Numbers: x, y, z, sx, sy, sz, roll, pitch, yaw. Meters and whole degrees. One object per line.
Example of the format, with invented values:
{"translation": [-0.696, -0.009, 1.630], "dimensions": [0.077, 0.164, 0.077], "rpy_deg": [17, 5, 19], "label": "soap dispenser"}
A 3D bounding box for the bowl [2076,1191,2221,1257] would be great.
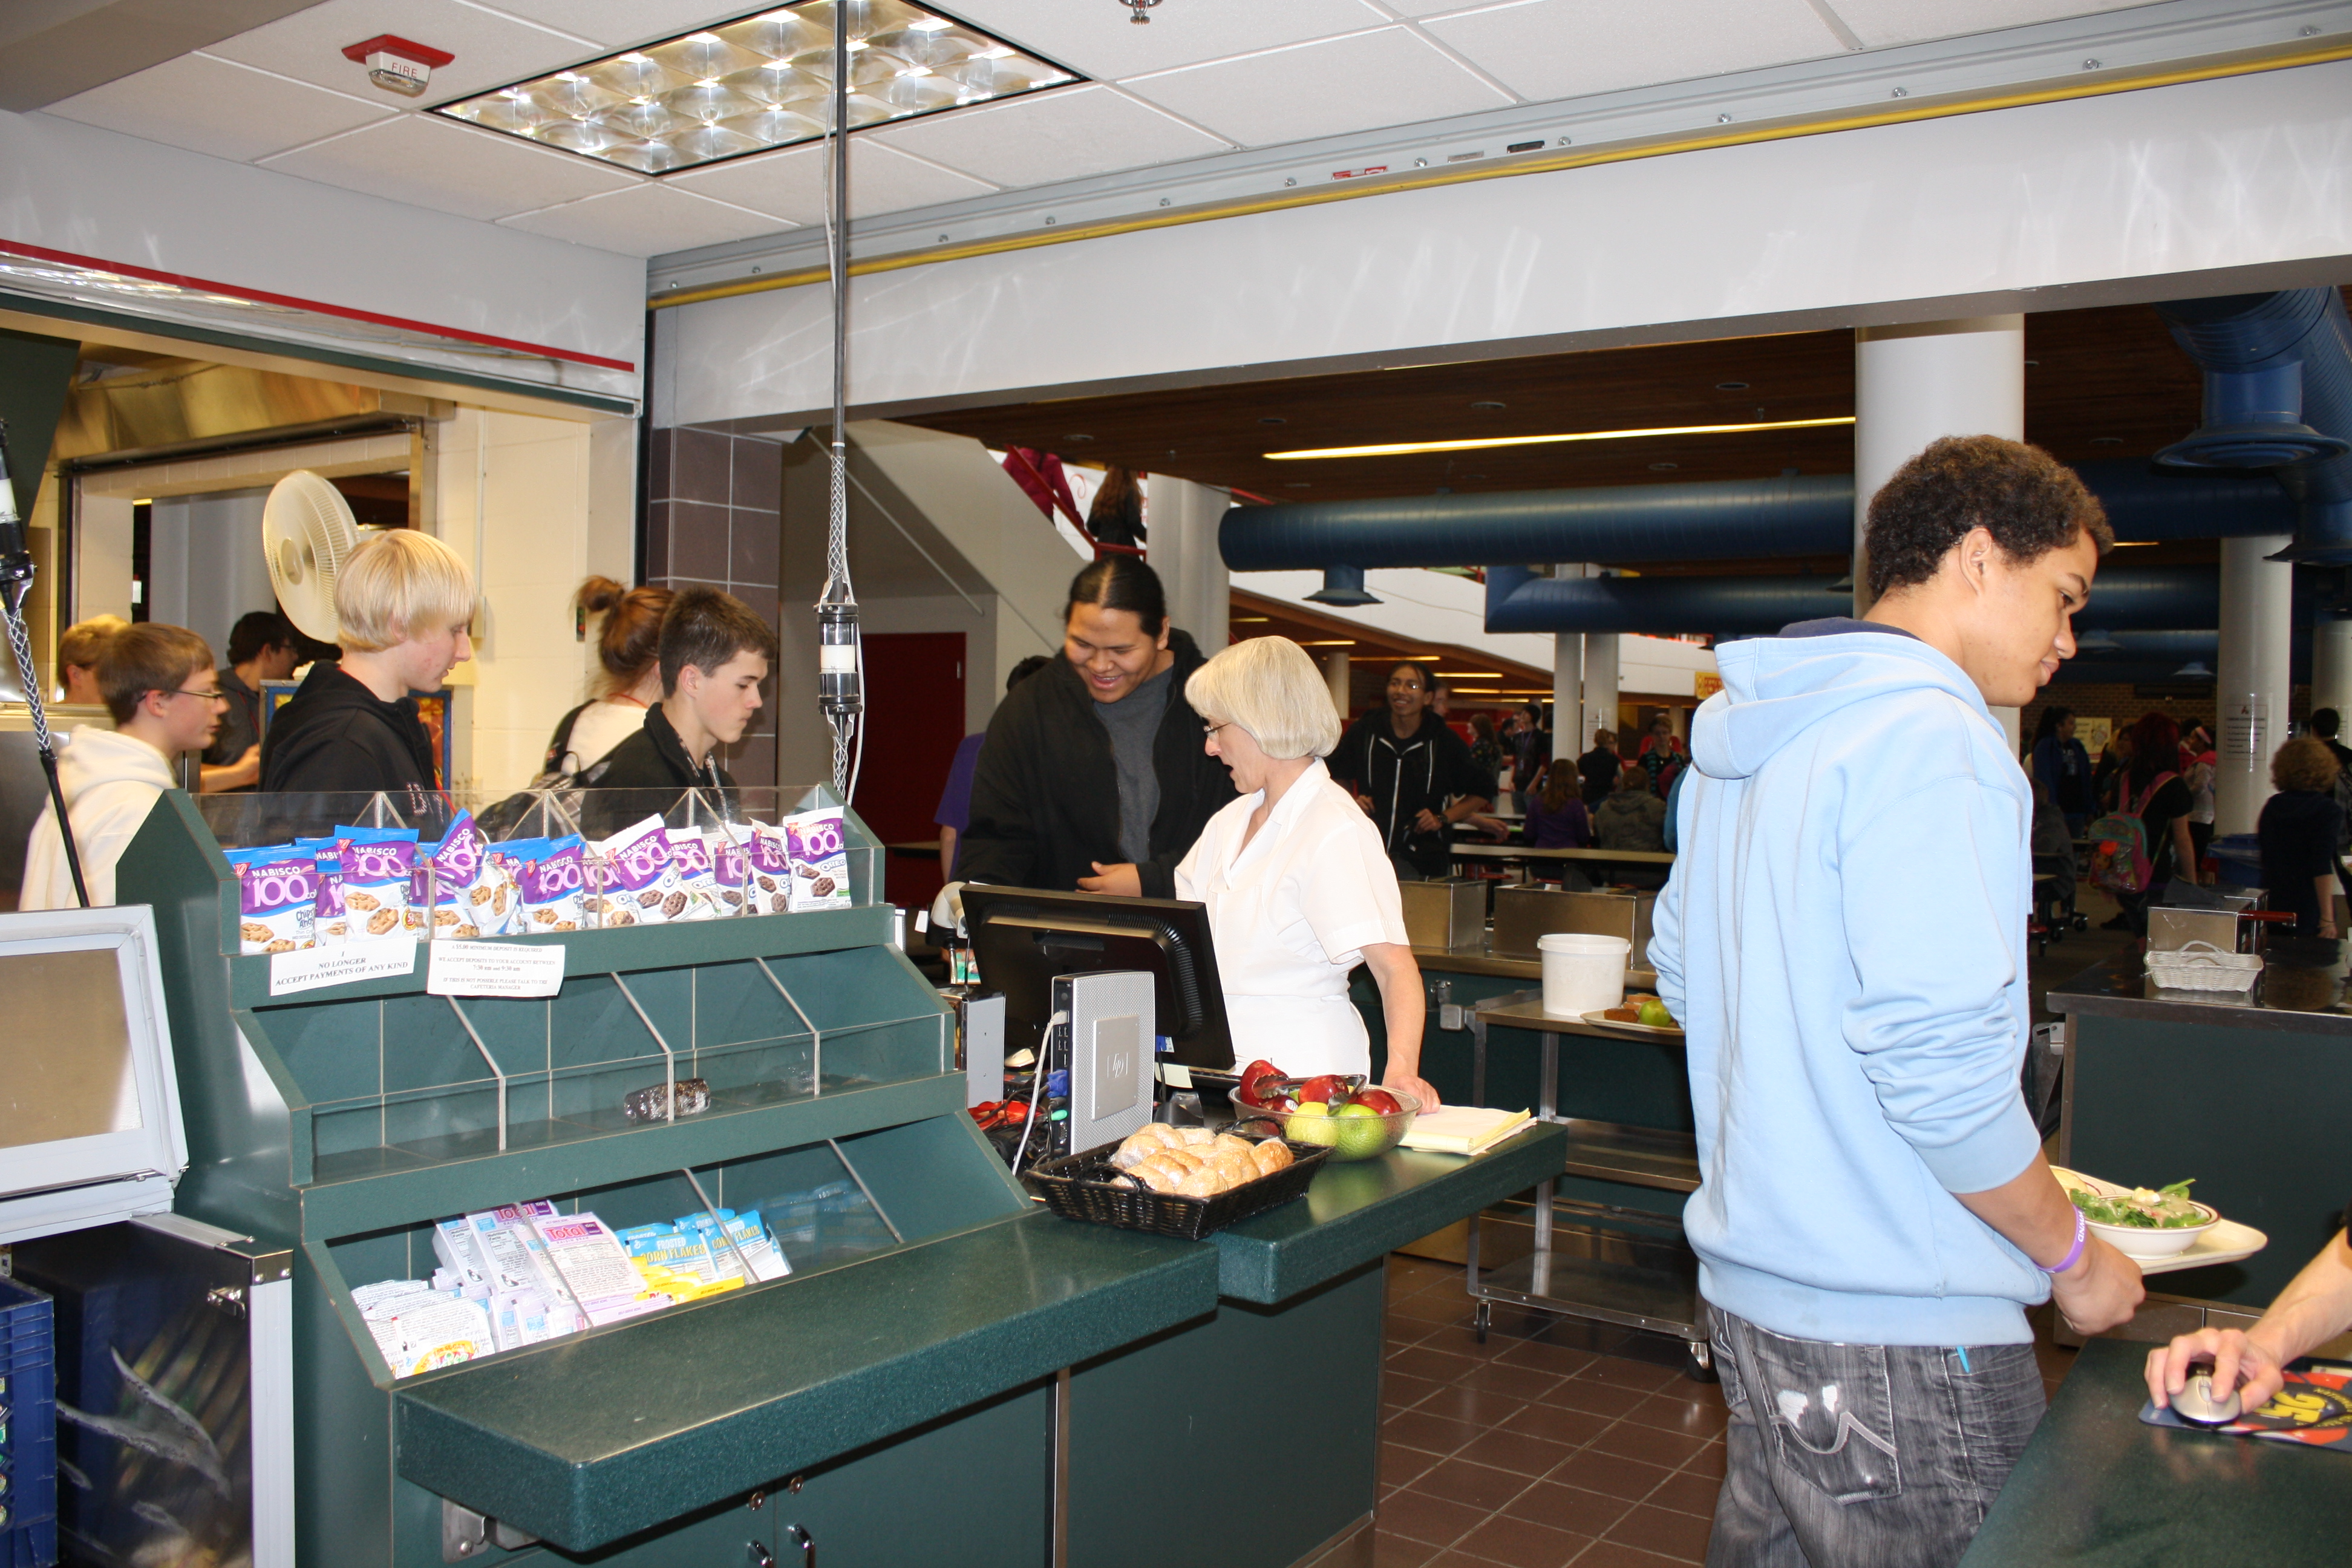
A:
{"translation": [1.682, 0.755, 2.815], "dimensions": [0.223, 0.051, 0.224], "rpy_deg": [-1, 1, 0], "label": "bowl"}

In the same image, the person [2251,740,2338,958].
{"translation": [5.153, 0.245, 7.440], "dimensions": [0.345, 0.930, 0.659], "rpy_deg": [9, 16, 32], "label": "person"}

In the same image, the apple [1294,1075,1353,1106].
{"translation": [0.273, 0.580, 3.103], "dimensions": [0.058, 0.040, 0.069], "rpy_deg": [-1, -2, -16], "label": "apple"}

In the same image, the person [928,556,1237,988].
{"translation": [-0.262, -0.046, 4.537], "dimensions": [1.030, 1.137, 0.662], "rpy_deg": [-7, 27, -8], "label": "person"}

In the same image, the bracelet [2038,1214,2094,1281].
{"translation": [1.257, 0.651, 2.309], "dimensions": [0.025, 0.085, 0.066], "rpy_deg": [18, -16, -10], "label": "bracelet"}

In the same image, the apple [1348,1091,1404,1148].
{"translation": [0.374, 0.612, 3.075], "dimensions": [0.109, 0.114, 0.105], "rpy_deg": [7, 6, 17], "label": "apple"}

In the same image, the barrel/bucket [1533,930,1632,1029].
{"translation": [1.281, 0.616, 5.204], "dimensions": [0.268, 0.198, 0.269], "rpy_deg": [0, -1, 0], "label": "barrel/bucket"}

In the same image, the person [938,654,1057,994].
{"translation": [-0.732, 0.010, 6.461], "dimensions": [0.397, 1.243, 0.406], "rpy_deg": [16, 44, 1], "label": "person"}

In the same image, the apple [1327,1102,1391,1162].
{"translation": [0.345, 0.646, 3.035], "dimensions": [0.118, 0.058, 0.111], "rpy_deg": [-1, -8, -3], "label": "apple"}
